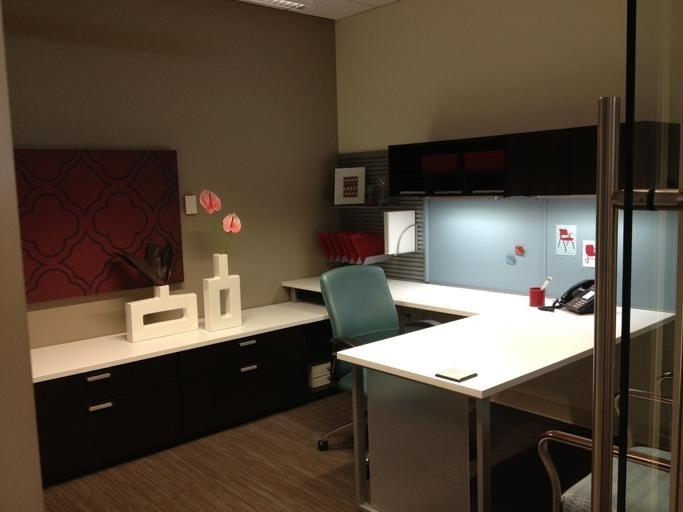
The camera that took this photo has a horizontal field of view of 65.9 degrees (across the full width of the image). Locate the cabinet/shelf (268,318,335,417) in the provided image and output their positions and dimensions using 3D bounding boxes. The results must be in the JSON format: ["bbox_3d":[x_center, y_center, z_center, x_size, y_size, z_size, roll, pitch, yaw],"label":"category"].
[{"bbox_3d":[-0.289,0.779,4.116,0.534,0.542,0.211,-6,4,-19],"label":"cabinet/shelf"}]

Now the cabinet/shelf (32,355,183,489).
[{"bbox_3d":[-1.430,1.016,3.457,0.869,0.663,0.481,-10,-1,-6],"label":"cabinet/shelf"}]

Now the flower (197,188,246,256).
[{"bbox_3d":[-0.944,-0.257,4.115,0.339,0.525,0.459,-3,9,-12],"label":"flower"}]

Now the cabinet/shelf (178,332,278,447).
[{"bbox_3d":[-0.865,0.867,3.935,0.935,0.690,0.512,-4,8,-44],"label":"cabinet/shelf"}]

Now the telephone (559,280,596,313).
[{"bbox_3d":[1.478,0.247,3.242,0.276,0.113,0.331,3,11,29],"label":"telephone"}]

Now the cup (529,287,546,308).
[{"bbox_3d":[1.250,0.267,3.379,0.098,0.116,0.113,-1,1,-4],"label":"cup"}]

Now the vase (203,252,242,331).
[{"bbox_3d":[-0.868,0.256,3.837,0.229,0.525,0.303,1,9,16],"label":"vase"}]
